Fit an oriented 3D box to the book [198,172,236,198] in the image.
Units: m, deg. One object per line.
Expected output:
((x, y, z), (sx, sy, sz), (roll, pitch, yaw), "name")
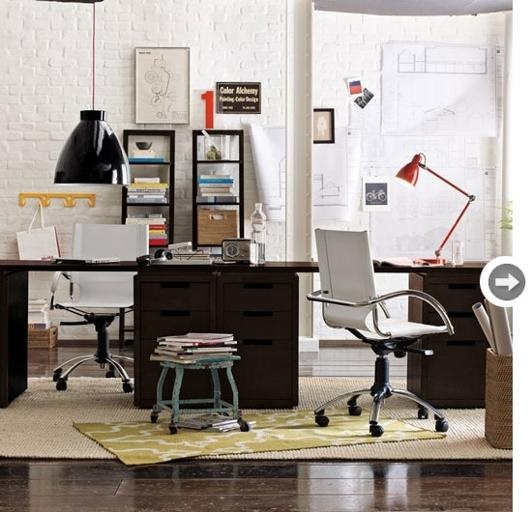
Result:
((-0.365, -0.514, 5.628), (0.260, 0.163, 0.088), (-1, 5, -4), "book")

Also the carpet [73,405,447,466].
((-0.068, 0.782, 3.453), (1.538, 0.028, 0.657), (-1, 5, -12), "carpet")

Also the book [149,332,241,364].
((-0.326, 0.423, 3.498), (0.377, 0.113, 0.180), (-1, 5, -11), "book")

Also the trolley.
((-0.320, 0.636, 3.587), (0.401, 0.282, 0.339), (2, -4, -19), "trolley")

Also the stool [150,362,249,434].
((-0.322, 0.638, 3.618), (0.371, 0.278, 0.386), (1, -6, -10), "stool")

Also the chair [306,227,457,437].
((0.528, 0.332, 3.629), (0.656, 0.931, 0.718), (1, 5, 11), "chair")

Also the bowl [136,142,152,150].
((-0.899, -0.811, 5.689), (0.075, 0.034, 0.071), (-1, 3, 0), "bowl")

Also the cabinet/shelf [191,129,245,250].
((-0.358, -0.498, 5.722), (0.393, 0.880, 0.321), (0, 5, -2), "cabinet/shelf")
